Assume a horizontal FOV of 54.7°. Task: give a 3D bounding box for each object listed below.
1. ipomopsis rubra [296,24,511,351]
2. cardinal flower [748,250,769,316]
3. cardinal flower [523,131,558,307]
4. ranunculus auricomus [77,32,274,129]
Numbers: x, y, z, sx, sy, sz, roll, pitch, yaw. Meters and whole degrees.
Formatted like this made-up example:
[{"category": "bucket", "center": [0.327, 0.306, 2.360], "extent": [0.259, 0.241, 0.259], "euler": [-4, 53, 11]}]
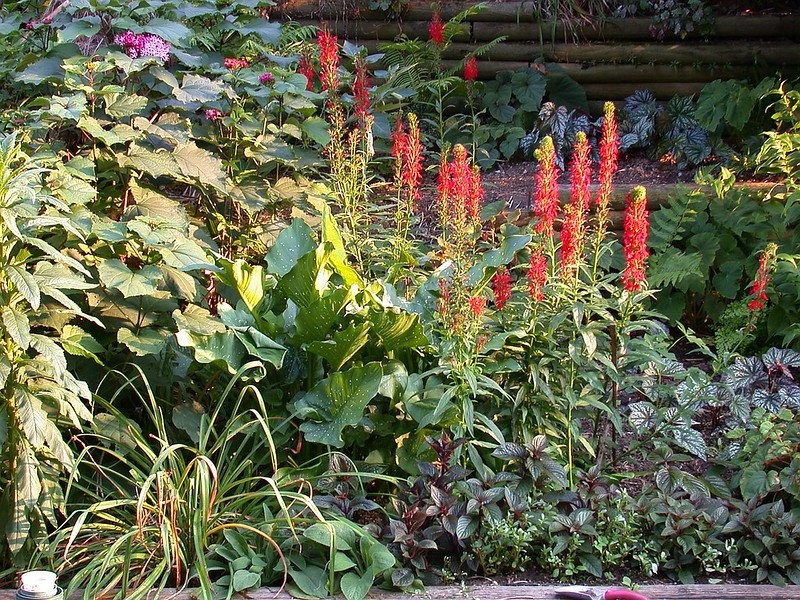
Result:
[{"category": "ipomopsis rubra", "center": [-0.063, -0.755, 3.923], "extent": [0.848, 1.235, 2.288], "euler": [-2, 16, -7]}, {"category": "cardinal flower", "center": [1.758, -0.077, 3.817], "extent": [0.121, 0.126, 0.344], "euler": [16, 43, 17]}, {"category": "cardinal flower", "center": [0.571, -0.331, 3.194], "extent": [0.131, 0.748, 0.126], "euler": [-12, 17, -29]}, {"category": "ranunculus auricomus", "center": [-1.157, -1.150, 3.942], "extent": [0.700, 0.370, 0.906], "euler": [-2, 15, -8]}]
